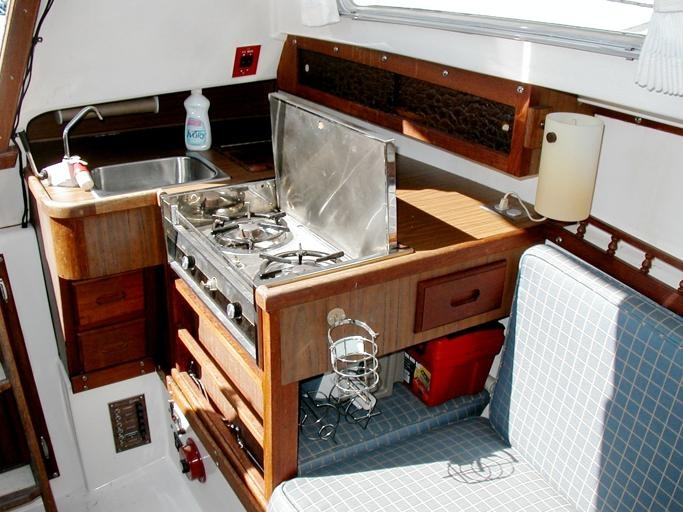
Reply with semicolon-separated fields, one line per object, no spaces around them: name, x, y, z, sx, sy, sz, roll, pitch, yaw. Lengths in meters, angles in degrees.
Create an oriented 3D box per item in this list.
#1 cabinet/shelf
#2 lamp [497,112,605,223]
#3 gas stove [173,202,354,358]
cabinet/shelf;-1.021;0.307;2.262;0.324;0.572;0.398;-19;47;-26
lamp;0.614;-0.322;1.697;0.393;0.388;0.204;15;37;25
gas stove;-0.453;0.086;2.026;0.412;0.738;0.278;20;49;-42
